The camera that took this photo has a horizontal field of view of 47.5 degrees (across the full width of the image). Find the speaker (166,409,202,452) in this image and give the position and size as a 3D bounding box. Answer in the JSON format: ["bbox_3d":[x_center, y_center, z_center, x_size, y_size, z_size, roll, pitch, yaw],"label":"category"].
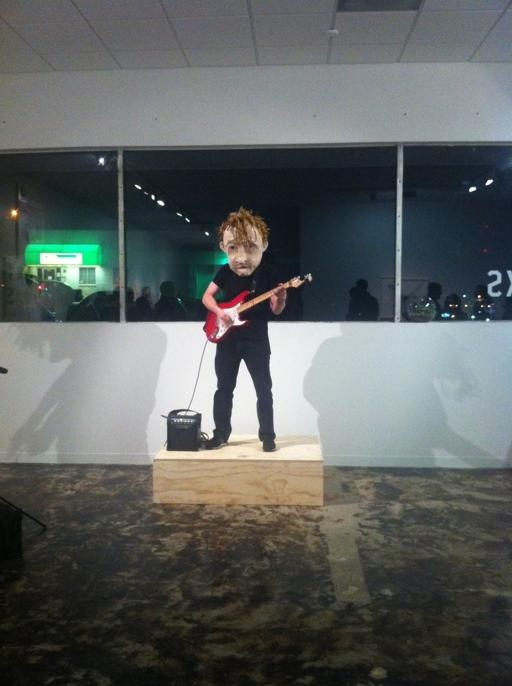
[{"bbox_3d":[-0.451,0.540,3.578,0.210,0.230,0.175,-1,5,-7],"label":"speaker"}]
